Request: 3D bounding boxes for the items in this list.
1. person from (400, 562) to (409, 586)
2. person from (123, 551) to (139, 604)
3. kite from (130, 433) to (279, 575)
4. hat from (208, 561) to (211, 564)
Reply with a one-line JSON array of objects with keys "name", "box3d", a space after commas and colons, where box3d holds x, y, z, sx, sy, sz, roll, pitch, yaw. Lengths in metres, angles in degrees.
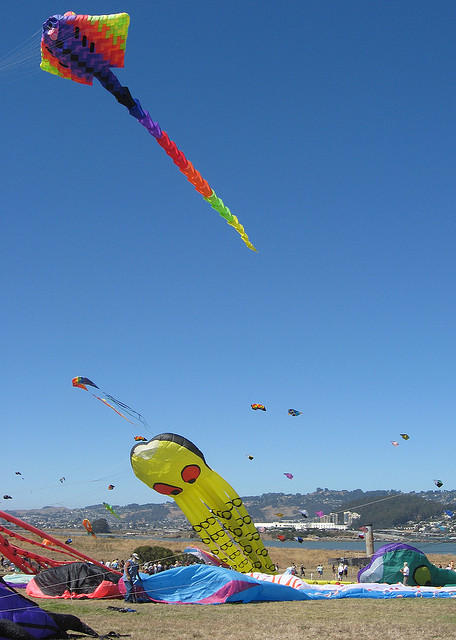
[{"name": "person", "box3d": [6.087, 8.844, 23.005, 0.276, 0.729, 0.691, -1, -15, 14]}, {"name": "person", "box3d": [-2.732, 7.446, 19.093, 0.457, 1.335, 0.514, -21, -29, 39]}, {"name": "kite", "box3d": [-0.905, 6.289, 22.659, 4.624, 4.535, 1.529, 9, -16, -22]}, {"name": "hat", "box3d": [-0.695, 9.476, 25.851, 0.148, 0.030, 0.137, -1, -6, 6]}]
